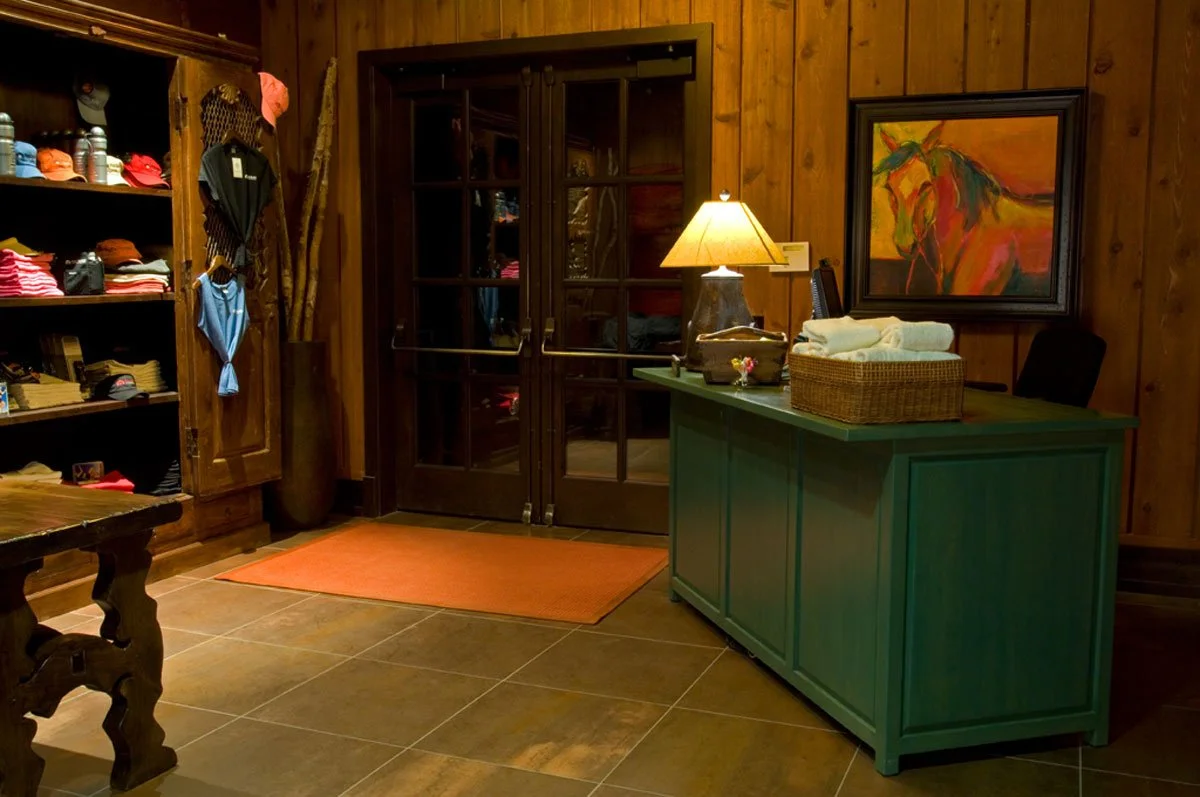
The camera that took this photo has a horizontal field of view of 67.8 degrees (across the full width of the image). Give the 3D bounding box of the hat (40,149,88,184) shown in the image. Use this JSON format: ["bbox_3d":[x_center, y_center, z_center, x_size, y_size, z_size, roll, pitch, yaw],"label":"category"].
[{"bbox_3d":[-2.802,-1.206,4.650,0.241,0.138,0.156,9,9,33],"label":"hat"}]

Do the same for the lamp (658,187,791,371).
[{"bbox_3d":[0.668,-0.633,4.705,0.754,0.964,0.781,4,8,35],"label":"lamp"}]

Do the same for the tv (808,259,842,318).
[{"bbox_3d":[1.128,-0.557,4.445,0.131,0.365,0.419,5,6,22],"label":"tv"}]

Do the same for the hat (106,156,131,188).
[{"bbox_3d":[-2.670,-1.245,4.915,0.161,0.094,0.168,0,-3,-27],"label":"hat"}]

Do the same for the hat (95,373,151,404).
[{"bbox_3d":[-2.650,-0.060,4.918,0.205,0.110,0.150,-3,4,-42],"label":"hat"}]

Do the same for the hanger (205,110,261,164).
[{"bbox_3d":[-2.167,-1.539,5.259,0.078,0.239,0.317,-1,7,36],"label":"hanger"}]

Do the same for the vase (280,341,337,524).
[{"bbox_3d":[-1.944,0.253,5.833,0.375,1.250,0.211,-7,13,-32],"label":"vase"}]

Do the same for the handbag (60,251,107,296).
[{"bbox_3d":[-2.736,-0.666,4.726,0.237,0.271,0.182,2,2,-8],"label":"handbag"}]

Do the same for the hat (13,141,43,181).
[{"bbox_3d":[-2.884,-1.198,4.482,0.215,0.123,0.148,7,9,39],"label":"hat"}]

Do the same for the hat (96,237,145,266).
[{"bbox_3d":[-2.708,-0.821,4.998,0.146,0.110,0.217,-1,8,-17],"label":"hat"}]

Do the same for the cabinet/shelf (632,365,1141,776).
[{"bbox_3d":[1.231,0.787,3.882,1.273,1.325,2.370,-1,6,-16],"label":"cabinet/shelf"}]

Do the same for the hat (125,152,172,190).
[{"bbox_3d":[-2.578,-1.292,5.041,0.267,0.097,0.183,29,28,35],"label":"hat"}]

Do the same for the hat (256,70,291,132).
[{"bbox_3d":[-2.030,-1.848,5.541,0.175,0.390,0.295,-2,-20,-7],"label":"hat"}]

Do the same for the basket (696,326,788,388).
[{"bbox_3d":[0.657,-0.192,4.084,0.335,0.191,0.260,0,3,19],"label":"basket"}]

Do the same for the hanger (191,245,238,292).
[{"bbox_3d":[-2.251,-0.755,5.167,0.035,0.146,0.260,8,22,13],"label":"hanger"}]
